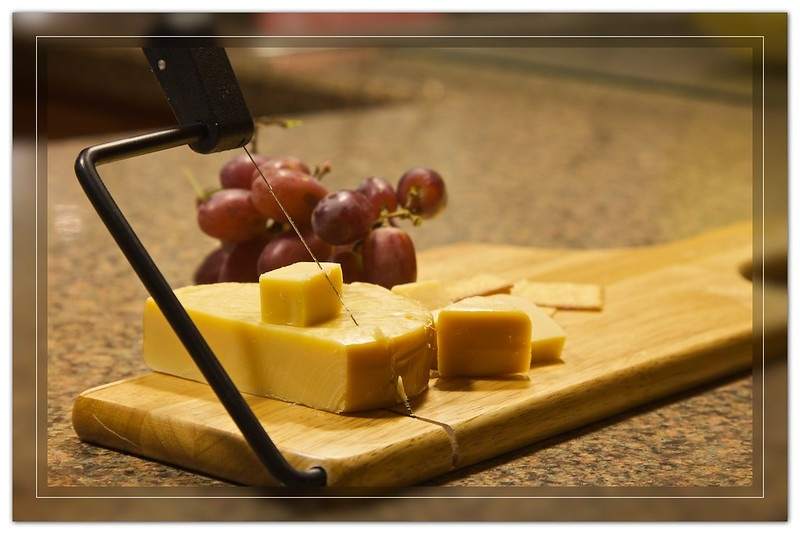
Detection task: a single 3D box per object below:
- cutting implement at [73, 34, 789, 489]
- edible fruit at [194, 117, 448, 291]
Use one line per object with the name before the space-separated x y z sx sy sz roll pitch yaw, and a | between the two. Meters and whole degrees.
cutting implement | -0.056 -0.033 0.675 0.359 0.342 0.391 7 25 19
edible fruit | -0.097 -0.049 0.809 0.428 0.168 0.136 0 21 32
